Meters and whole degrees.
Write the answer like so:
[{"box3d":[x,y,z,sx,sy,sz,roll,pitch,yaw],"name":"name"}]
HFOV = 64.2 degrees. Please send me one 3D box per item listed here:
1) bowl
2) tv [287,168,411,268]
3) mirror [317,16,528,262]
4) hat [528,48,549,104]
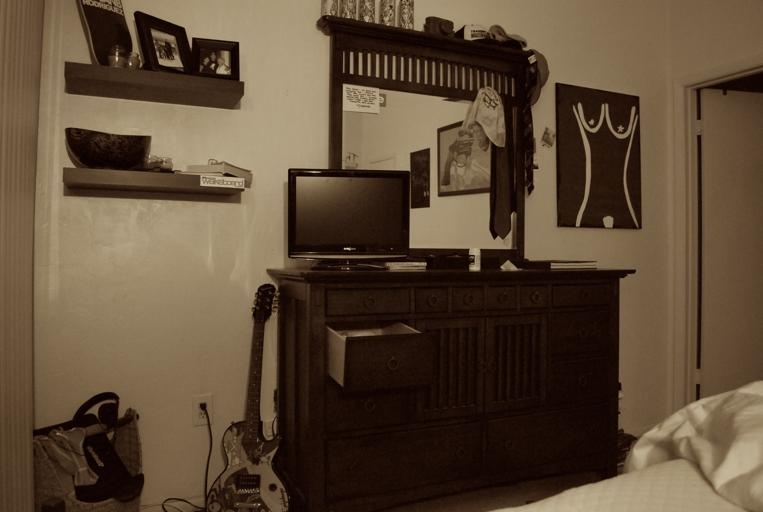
[{"box3d":[-1.358,-0.514,3.018,0.286,0.146,0.239,0,2,-22],"name":"bowl"},{"box3d":[-0.182,-0.210,3.305,0.467,0.392,0.130,1,5,-7],"name":"tv"},{"box3d":[0.190,-0.685,3.561,1.301,1.366,0.187,2,2,-27],"name":"mirror"},{"box3d":[0.979,-1.114,3.848,0.107,0.301,0.200,1,-3,-35],"name":"hat"}]
